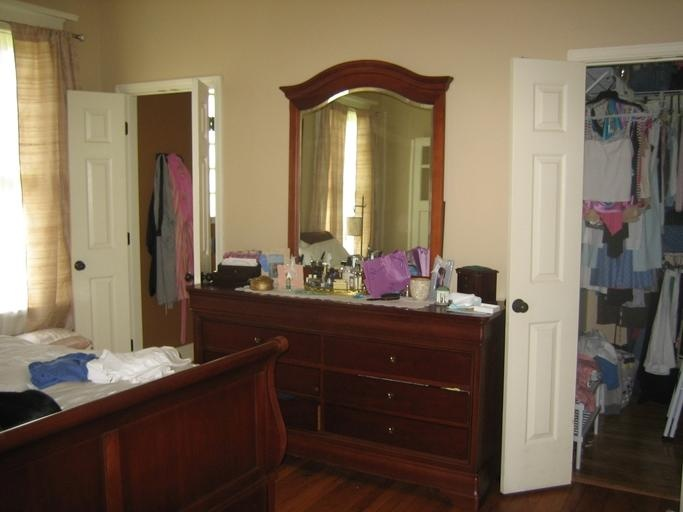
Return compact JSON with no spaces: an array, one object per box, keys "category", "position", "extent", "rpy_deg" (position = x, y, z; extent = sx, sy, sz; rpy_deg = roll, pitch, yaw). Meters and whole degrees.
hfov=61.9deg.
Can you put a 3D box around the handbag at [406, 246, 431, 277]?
[{"category":"handbag","position":[0.522,0.046,3.863],"extent":[0.111,0.205,0.144],"rpy_deg":[-16,19,-34]}]

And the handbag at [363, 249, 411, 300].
[{"category":"handbag","position":[0.303,0.119,3.738],"extent":[0.286,0.309,0.115],"rpy_deg":[-10,-7,9]}]
